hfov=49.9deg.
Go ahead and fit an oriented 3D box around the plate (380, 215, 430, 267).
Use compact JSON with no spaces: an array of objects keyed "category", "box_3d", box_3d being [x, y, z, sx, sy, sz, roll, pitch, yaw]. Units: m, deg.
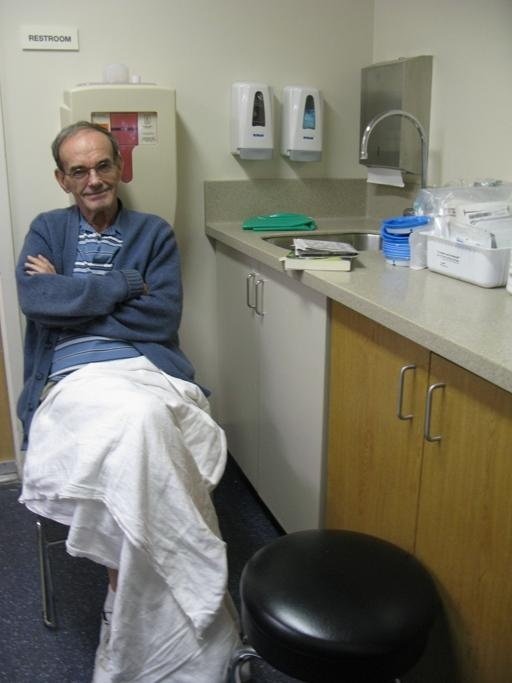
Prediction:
[{"category":"plate","box_3d":[0.364,-0.266,1.379,0.117,0.115,0.106,-18,27,-36]}]
